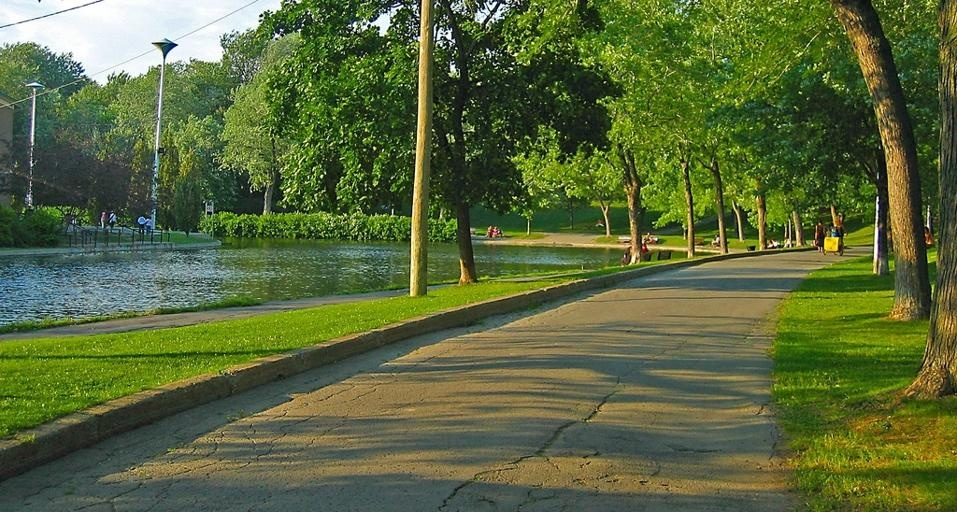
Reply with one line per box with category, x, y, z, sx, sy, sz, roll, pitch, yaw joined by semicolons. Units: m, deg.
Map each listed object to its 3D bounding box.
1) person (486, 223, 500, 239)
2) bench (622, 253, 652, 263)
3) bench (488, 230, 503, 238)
person;1.641;-2.686;101.827;1.549;0.892;1.953;1;-3;3
bench;9.711;0.118;58.456;1.685;0.627;2.100;0;0;3
bench;1.752;-2.406;100.291;1.575;0.899;5.044;0;0;-1
